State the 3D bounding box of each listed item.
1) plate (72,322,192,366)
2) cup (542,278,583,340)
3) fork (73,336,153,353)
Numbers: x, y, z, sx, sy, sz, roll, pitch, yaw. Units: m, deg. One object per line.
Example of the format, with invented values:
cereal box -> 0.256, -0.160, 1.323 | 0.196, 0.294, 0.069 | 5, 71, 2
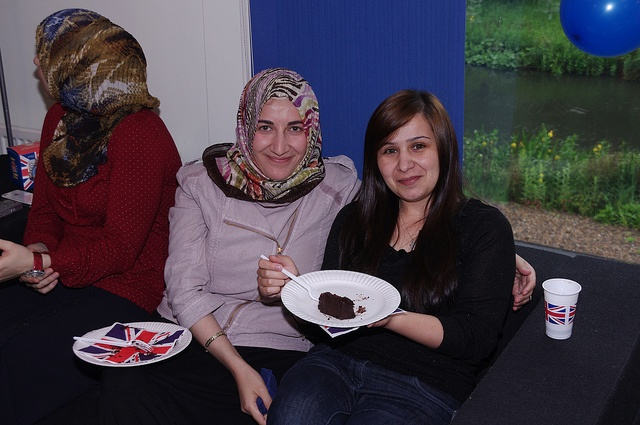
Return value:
plate -> -0.814, 0.580, 2.084 | 0.438, 0.046, 0.448 | 2, 10, -41
cup -> 0.899, 0.375, 1.806 | 0.130, 0.187, 0.138 | 1, 6, 0
fork -> -0.892, 0.575, 2.063 | 0.358, 0.044, 0.045 | 5, 51, 7
